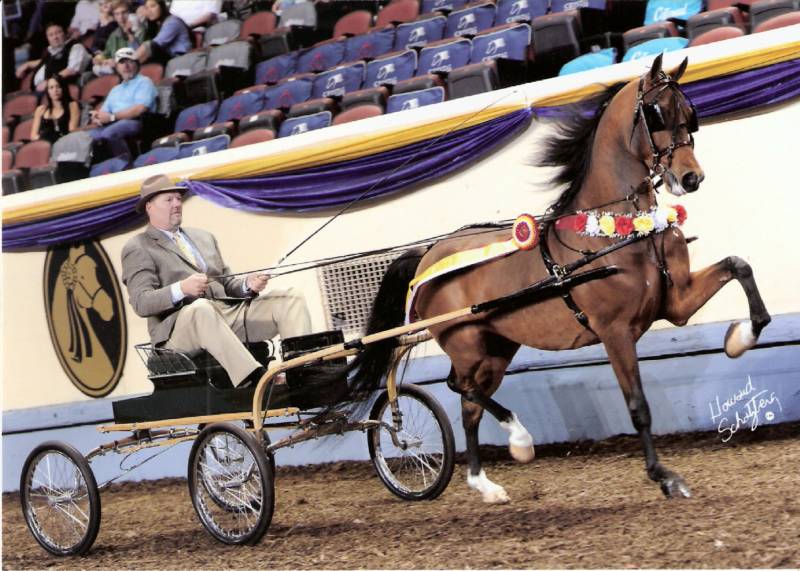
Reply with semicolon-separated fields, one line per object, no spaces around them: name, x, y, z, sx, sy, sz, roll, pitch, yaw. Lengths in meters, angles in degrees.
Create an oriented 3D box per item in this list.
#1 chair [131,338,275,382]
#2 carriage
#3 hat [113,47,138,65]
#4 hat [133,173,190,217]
chair;-1.386;0.540;8.843;0.660;0.152;0.387;-3;-2;8
carriage;0.008;0.393;9.468;6.242;2.706;2.427;-11;-5;38
hat;-2.413;-2.046;11.624;0.182;0.090;0.206;-4;-7;-8
hat;-1.722;-0.664;9.279;0.390;0.119;0.324;-24;-10;26
